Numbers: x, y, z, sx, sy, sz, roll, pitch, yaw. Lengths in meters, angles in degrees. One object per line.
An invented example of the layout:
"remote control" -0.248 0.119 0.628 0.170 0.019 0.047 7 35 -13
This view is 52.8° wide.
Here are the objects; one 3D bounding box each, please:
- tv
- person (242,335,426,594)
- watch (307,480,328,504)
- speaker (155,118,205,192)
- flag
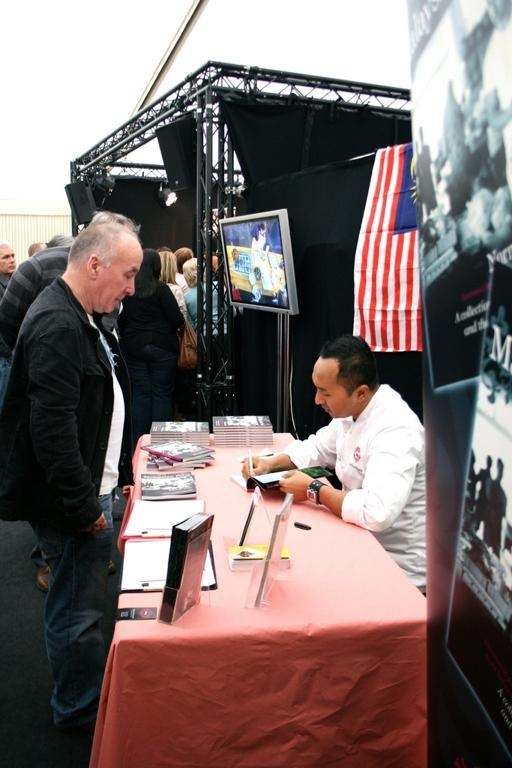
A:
"tv" 0.038 -1.024 4.299 0.106 0.800 0.996 -17 13 -20
"person" 0.277 0.225 2.411 0.777 1.798 0.804 -2 5 -4
"watch" 0.205 0.382 1.815 0.054 0.092 0.075 5 5 42
"speaker" -0.821 -2.422 5.404 0.306 0.658 0.646 -4 10 -35
"flag" 0.966 -0.940 3.667 0.222 1.432 0.544 -5 10 -40
